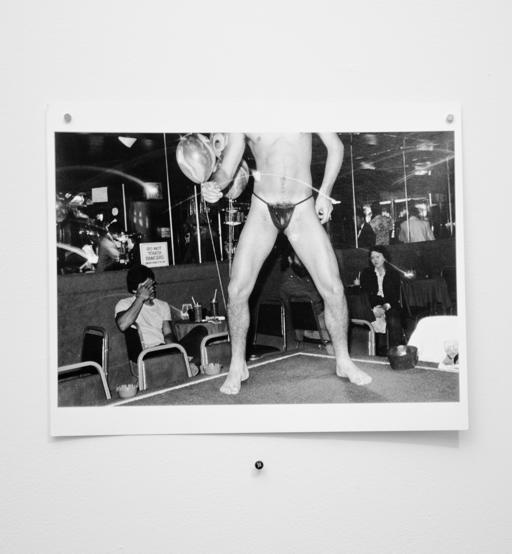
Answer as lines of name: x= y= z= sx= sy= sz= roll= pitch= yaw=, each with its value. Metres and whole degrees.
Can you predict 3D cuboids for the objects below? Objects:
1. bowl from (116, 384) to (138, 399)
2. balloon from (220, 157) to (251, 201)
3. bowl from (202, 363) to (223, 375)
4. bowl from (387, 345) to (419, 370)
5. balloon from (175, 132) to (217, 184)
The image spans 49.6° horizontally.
bowl: x=-0.381 y=0.332 z=1.625 sx=0.037 sy=0.032 sz=0.046 roll=-4 pitch=-14 yaw=16
balloon: x=-0.051 y=-0.285 z=1.623 sx=0.072 sy=0.111 sz=0.029 roll=11 pitch=21 yaw=-7
bowl: x=-0.136 y=0.278 z=1.678 sx=0.036 sy=0.016 sz=0.035 roll=-2 pitch=7 yaw=0
bowl: x=0.442 y=0.242 z=1.661 sx=0.059 sy=0.056 sz=0.074 roll=-3 pitch=-3 yaw=35
balloon: x=-0.181 y=-0.355 z=1.690 sx=0.084 sy=0.141 sz=0.101 roll=-6 pitch=28 yaw=9
